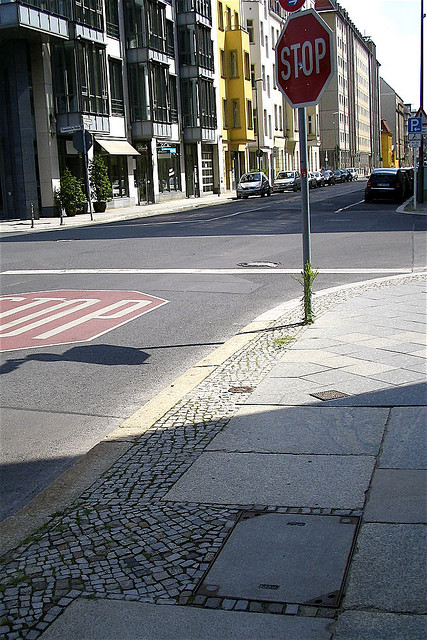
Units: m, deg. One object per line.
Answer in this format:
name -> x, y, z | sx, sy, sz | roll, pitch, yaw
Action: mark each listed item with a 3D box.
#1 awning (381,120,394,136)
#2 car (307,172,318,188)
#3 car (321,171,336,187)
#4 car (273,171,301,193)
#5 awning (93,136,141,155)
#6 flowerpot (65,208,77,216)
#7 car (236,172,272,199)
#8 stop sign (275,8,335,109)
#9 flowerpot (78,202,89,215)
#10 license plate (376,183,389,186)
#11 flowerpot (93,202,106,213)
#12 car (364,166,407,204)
awning -> 51.392, -56.909, 184.197 | 2.046, 5.248, 19.004 | -4, 8, 21
car -> 9.770, -13.697, 60.985 | 0.810, 1.496, 4.029 | -5, 8, 11
car -> 12.356, -15.319, 67.975 | 1.534, 1.510, 2.680 | 2, 19, 25
car -> 6.731, -12.625, 57.132 | 2.262, 2.277, 4.886 | -5, 8, 12
awning -> -6.079, -10.999, 39.098 | 1.036, 1.388, 4.311 | -5, 8, 15
flowerpot -> -7.589, -5.735, 33.159 | 0.363, 0.293, 0.384 | 1, 12, 0
car -> 3.150, -10.765, 49.211 | 1.588, 1.545, 3.126 | 1, 12, 16
stop sign -> 0.938, -2.695, 6.398 | 0.228, 0.906, 0.801 | -12, 9, -38
flowerpot -> -7.371, -6.335, 35.373 | 0.534, 0.853, 0.612 | 1, 11, 4
license plate -> 8.869, -7.087, 32.577 | 0.535, 0.202, 0.106 | -5, 7, 14
flowerpot -> -6.439, -6.366, 35.159 | 0.535, 0.461, 0.592 | 0, 11, -5
car -> 9.425, -7.407, 33.694 | 1.374, 1.261, 2.853 | 5, 27, 19
